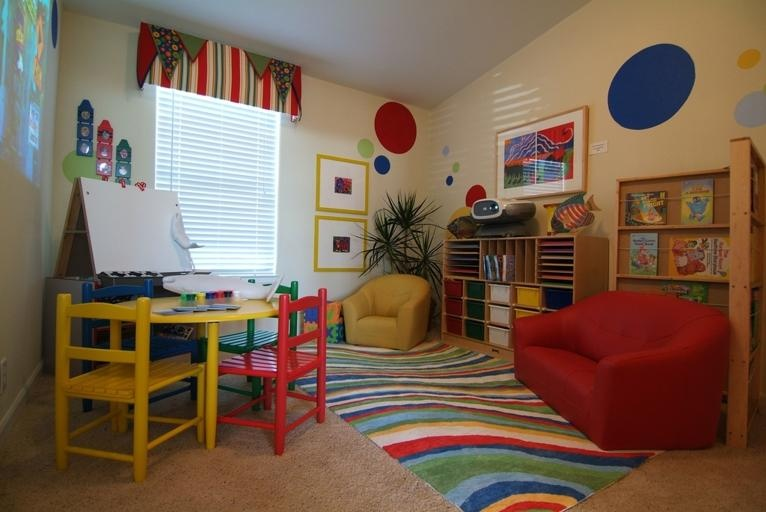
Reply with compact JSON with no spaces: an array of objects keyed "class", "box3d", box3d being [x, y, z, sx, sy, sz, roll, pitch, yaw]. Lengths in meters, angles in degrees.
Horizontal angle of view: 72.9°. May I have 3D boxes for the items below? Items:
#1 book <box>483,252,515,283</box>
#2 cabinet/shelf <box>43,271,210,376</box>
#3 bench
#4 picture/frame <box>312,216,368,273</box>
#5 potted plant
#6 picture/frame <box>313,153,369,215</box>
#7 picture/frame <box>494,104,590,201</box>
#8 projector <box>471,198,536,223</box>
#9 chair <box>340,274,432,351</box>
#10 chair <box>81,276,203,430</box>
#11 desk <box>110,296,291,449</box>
[{"class":"book","box3d":[1.232,0.163,5.601,0.235,0.408,0.427,7,-9,-34]},{"class":"cabinet/shelf","box3d":[-2.585,0.603,5.263,0.811,1.500,0.768,3,3,21]},{"class":"bench","box3d":[1.911,0.873,4.232,1.147,0.991,1.562,1,1,-14]},{"class":"picture/frame","box3d":[-0.574,-0.150,6.456,0.723,0.694,0.025,0,2,-37]},{"class":"potted plant","box3d":[0.313,-0.083,7.425,1.341,2.233,1.633,0,-5,2]},{"class":"picture/frame","box3d":[-0.559,-0.895,6.446,0.804,0.768,0.034,-1,2,-36]},{"class":"picture/frame","box3d":[1.766,-1.124,5.650,0.044,0.917,1.201,2,-4,-40]},{"class":"projector","box3d":[1.282,-0.484,5.538,0.653,0.266,0.312,1,1,12]},{"class":"chair","box3d":[0.086,0.659,6.184,0.975,0.809,1.038,-4,6,-44]},{"class":"chair","box3d":[-2.057,0.765,4.799,1.090,1.709,1.097,0,0,-5]},{"class":"desk","box3d":[-1.534,0.721,4.187,1.216,0.832,1.293,9,6,-24]}]
